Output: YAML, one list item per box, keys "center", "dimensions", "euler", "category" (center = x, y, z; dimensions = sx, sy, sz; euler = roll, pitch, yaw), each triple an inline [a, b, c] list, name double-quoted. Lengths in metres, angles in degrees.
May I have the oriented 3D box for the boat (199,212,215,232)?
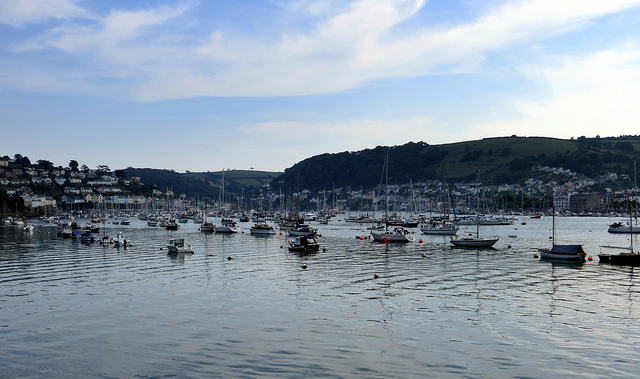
- center: [-39.371, 11.106, 205.675]
  dimensions: [6.445, 5.645, 2.059]
  euler: [2, 9, 17]
  category: "boat"

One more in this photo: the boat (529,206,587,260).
- center: [37.098, 9.406, 89.857]
  dimensions: [5.987, 2.599, 2.296]
  euler: [6, 12, 31]
  category: "boat"

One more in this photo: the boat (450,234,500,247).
- center: [30.567, 9.595, 108.991]
  dimensions: [12.140, 3.005, 3.647]
  euler: [-1, 2, 15]
  category: "boat"
